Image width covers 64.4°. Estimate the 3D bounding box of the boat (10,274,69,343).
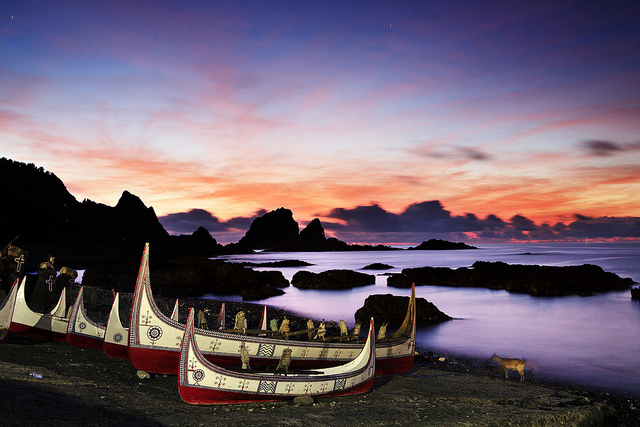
[{"bbox_3d":[-18.598,6.253,33.456,1.513,3.463,7.545,12,-17,-7],"label":"boat"}]
